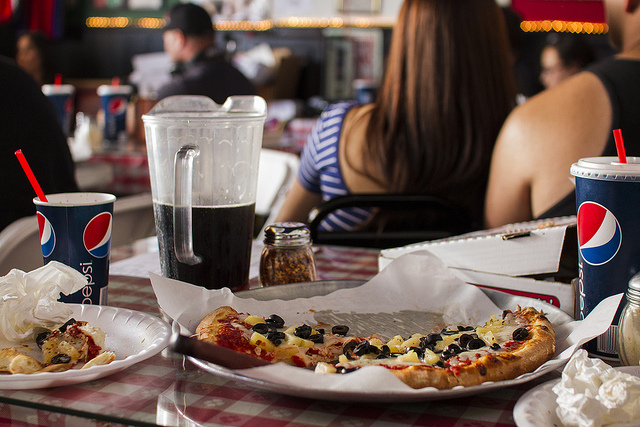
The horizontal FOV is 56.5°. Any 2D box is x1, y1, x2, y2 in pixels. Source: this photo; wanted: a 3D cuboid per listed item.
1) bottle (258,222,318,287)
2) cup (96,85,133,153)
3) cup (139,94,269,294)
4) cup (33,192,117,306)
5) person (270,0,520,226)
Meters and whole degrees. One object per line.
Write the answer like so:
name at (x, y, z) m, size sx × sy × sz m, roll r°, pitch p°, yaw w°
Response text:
bottle at (-0.056, 0.085, 1.067) m, size 0.093 × 0.144 × 0.097 m, roll -1°, pitch 17°, yaw 0°
cup at (-1.230, -0.626, 3.576) m, size 0.231 × 0.365 × 0.198 m, roll -3°, pitch 31°, yaw -24°
cup at (-0.141, -0.053, 1.045) m, size 0.227 × 0.387 × 0.287 m, roll 2°, pitch 9°, yaw 10°
cup at (-0.367, 0.033, 0.958) m, size 0.114 × 0.205 × 0.106 m, roll 1°, pitch 8°, yaw 0°
person at (0.213, -0.305, 1.963) m, size 0.674 × 0.949 × 0.673 m, roll 0°, pitch 20°, yaw -9°
